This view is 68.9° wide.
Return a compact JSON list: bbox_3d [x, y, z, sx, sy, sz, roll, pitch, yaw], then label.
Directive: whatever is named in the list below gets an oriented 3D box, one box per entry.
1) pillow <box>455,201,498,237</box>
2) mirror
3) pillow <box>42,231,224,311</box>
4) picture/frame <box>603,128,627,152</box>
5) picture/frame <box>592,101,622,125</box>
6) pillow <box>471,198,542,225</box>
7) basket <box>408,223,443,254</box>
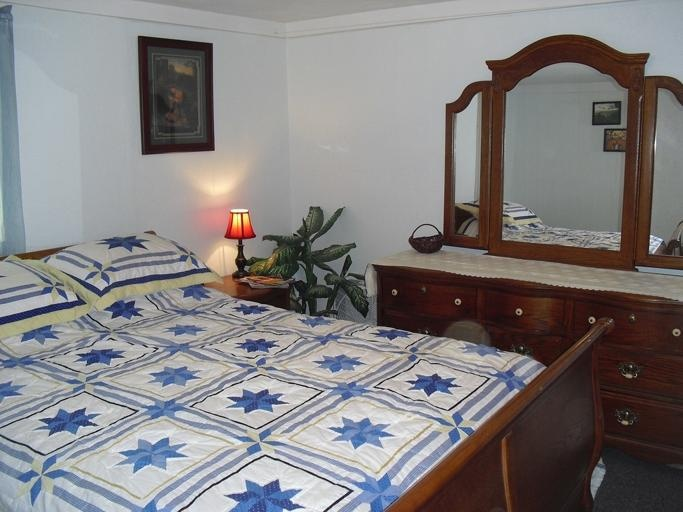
[{"bbox_3d":[0.971,-0.289,3.861,0.187,0.247,0.076,8,6,41],"label":"pillow"},{"bbox_3d":[1.581,-0.721,3.444,1.688,1.590,0.137,4,6,33],"label":"mirror"},{"bbox_3d":[-1.307,0.071,3.171,0.643,0.174,0.556,-11,25,-40],"label":"pillow"},{"bbox_3d":[1.821,-0.773,3.313,0.161,0.185,0.013,5,6,38],"label":"picture/frame"},{"bbox_3d":[1.772,-0.956,3.318,0.166,0.143,0.012,6,11,38],"label":"picture/frame"},{"bbox_3d":[1.286,-0.308,3.686,0.270,0.079,0.248,23,19,39],"label":"pillow"},{"bbox_3d":[0.664,-0.157,3.917,0.270,0.222,0.257,-1,4,1],"label":"basket"}]
